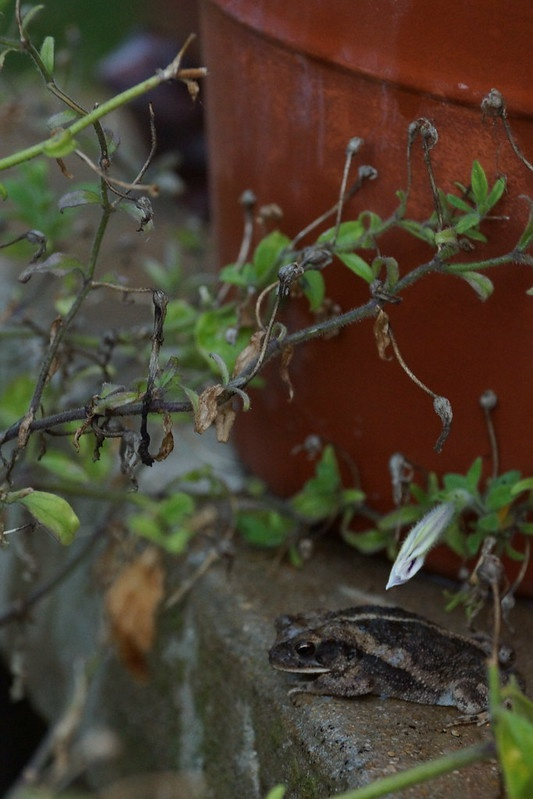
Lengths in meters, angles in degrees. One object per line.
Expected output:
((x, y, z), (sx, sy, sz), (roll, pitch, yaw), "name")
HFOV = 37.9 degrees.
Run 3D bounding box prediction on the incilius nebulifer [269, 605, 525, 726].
((0.117, 0.200, 0.667), (0.184, 0.050, 0.140), (3, 11, 6), "incilius nebulifer")
